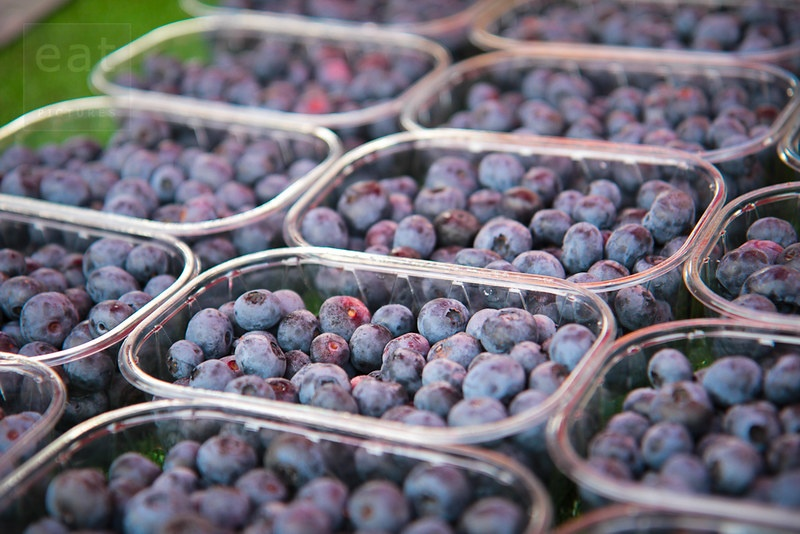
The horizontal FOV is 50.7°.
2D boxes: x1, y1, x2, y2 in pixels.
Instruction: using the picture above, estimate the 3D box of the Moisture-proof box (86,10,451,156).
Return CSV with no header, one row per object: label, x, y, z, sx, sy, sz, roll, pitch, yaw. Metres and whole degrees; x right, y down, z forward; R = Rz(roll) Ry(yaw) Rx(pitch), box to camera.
Moisture-proof box,-0.490,-0.835,3.533,1.206,0.293,0.750,15,46,22
